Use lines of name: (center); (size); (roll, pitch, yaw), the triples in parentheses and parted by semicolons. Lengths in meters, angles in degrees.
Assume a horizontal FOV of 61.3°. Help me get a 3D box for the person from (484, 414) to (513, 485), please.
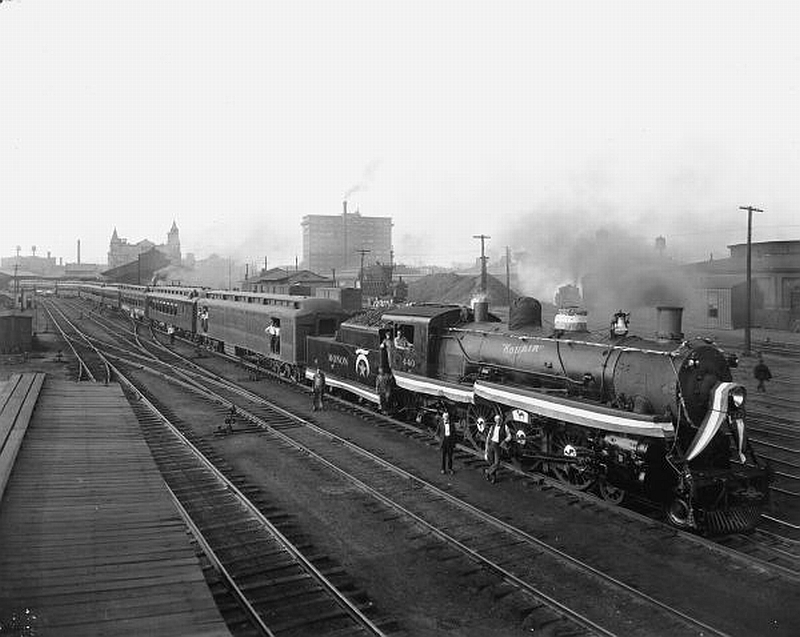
person: (2.458, 3.190, 16.783); (0.606, 1.504, 1.075); (1, 10, 11)

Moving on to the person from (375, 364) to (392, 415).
person: (-0.509, 2.383, 22.067); (0.289, 1.260, 1.189); (4, 18, -7)
